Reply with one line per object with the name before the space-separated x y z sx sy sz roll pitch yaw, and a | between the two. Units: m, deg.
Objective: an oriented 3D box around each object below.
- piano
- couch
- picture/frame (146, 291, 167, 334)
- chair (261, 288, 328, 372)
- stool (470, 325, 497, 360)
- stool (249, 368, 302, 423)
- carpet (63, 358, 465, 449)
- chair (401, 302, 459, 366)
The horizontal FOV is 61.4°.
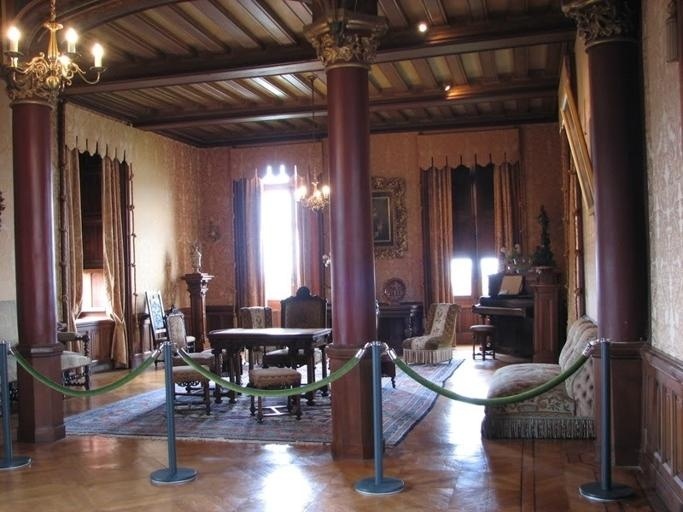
piano | 3.169 1.053 10.551 0.779 1.572 1.572 2 -4 -16
couch | 2.308 1.349 6.726 1.076 1.117 2.199 -1 -2 17
picture/frame | -3.621 1.099 11.293 0.328 0.717 0.901 -1 -1 0
chair | -0.665 1.086 8.552 0.663 1.445 0.762 -4 -14 15
stool | 2.729 1.592 11.037 0.511 0.680 0.494 -8 8 -17
stool | -0.810 1.670 7.007 0.548 0.603 0.578 1 -4 -13
carpet | -1.043 1.869 7.307 4.621 0.213 3.360 -2 -1 1
chair | 1.654 1.426 10.491 0.672 1.086 0.988 -2 -4 42
